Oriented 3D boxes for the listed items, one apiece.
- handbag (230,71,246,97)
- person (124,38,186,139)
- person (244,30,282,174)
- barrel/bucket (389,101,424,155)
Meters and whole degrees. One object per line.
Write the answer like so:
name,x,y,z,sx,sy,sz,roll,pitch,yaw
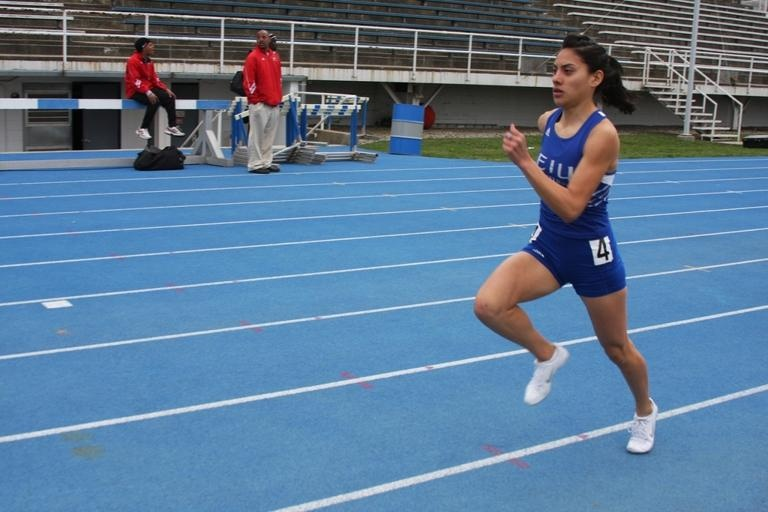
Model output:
handbag,-3.061,-3.681,12.162,0.257,0.520,0.912,0,9,-12
person,-4.814,-3.510,12.070,0.853,2.073,0.887,6,10,21
person,-2.426,-3.128,11.883,0.722,2.802,0.971,8,16,20
barrel/bucket,0.697,-3.516,16.066,0.946,1.331,0.845,11,13,19
